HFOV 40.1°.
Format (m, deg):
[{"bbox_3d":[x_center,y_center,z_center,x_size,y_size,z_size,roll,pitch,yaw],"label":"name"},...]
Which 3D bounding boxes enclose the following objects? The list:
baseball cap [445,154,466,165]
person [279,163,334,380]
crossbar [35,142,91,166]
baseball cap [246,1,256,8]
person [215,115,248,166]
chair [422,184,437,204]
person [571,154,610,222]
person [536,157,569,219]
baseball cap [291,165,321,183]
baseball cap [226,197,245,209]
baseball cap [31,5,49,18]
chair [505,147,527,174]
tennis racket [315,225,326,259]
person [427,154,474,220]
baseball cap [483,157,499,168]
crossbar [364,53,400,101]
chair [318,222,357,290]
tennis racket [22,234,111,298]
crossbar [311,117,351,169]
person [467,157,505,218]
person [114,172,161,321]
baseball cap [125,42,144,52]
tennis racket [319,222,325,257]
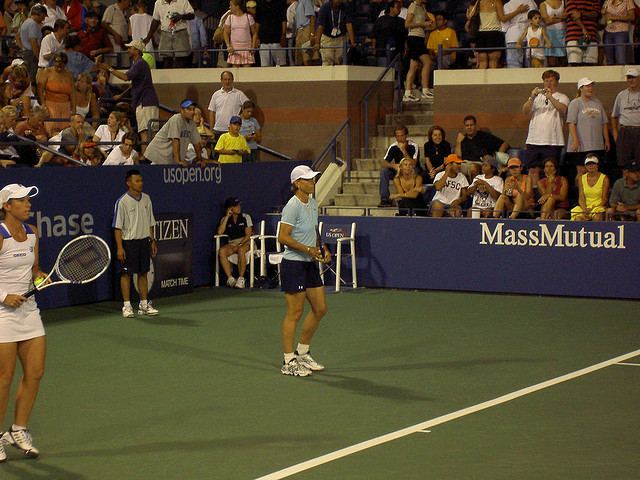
[{"bbox_3d":[2.747,-1.674,17.974,0.318,0.192,0.225,3,10,8],"label":"baseball cap"},{"bbox_3d":[-0.237,0.438,11.641,0.676,2.792,0.656,-2,8,-13],"label":"person"},{"bbox_3d":[-4.825,-1.621,16.335,0.935,0.460,1.020,-3,9,-17],"label":"crossbar"},{"bbox_3d":[-1.898,-6.222,22.992,0.209,0.175,0.353,-2,10,-23],"label":"baseball cap"},{"bbox_3d":[-2.034,-2.257,19.771,0.745,1.039,2.558,-1,9,-6],"label":"person"},{"bbox_3d":[2.279,-0.969,18.722,0.370,0.424,0.294,0,-3,4],"label":"chair"},{"bbox_3d":[5.202,-1.018,16.916,0.685,1.256,0.719,3,8,19],"label":"person"},{"bbox_3d":[4.581,-1.010,17.288,0.613,1.171,0.960,2,8,16],"label":"person"},{"bbox_3d":[-0.235,-0.896,11.626,0.302,0.151,0.221,-6,6,21],"label":"baseball cap"},{"bbox_3d":[-1.857,-0.759,18.349,0.272,0.218,0.315,-2,9,-10],"label":"baseball cap"},{"bbox_3d":[-6.619,-5.370,20.406,0.206,0.298,0.264,13,13,37],"label":"baseball cap"},{"bbox_3d":[4.368,-1.783,19.626,0.532,0.780,0.604,-2,0,14],"label":"chair"},{"bbox_3d":[-0.016,0.023,13.404,0.054,0.541,0.141,-11,4,1],"label":"tennis racket"},{"bbox_3d":[2.649,-1.114,18.024,0.887,1.280,0.677,1,8,7],"label":"person"},{"bbox_3d":[3.549,-1.606,18.220,0.250,0.147,0.201,11,0,-31],"label":"baseball cap"},{"bbox_3d":[1.579,-4.168,22.463,0.136,1.843,0.131,40,-11,-27],"label":"crossbar"},{"bbox_3d":[0.170,0.344,17.883,0.875,1.443,0.899,1,1,30],"label":"chair"},{"bbox_3d":[-2.743,0.308,9.713,0.098,0.437,1.382,-11,22,37],"label":"tennis racket"},{"bbox_3d":[0.227,-2.319,20.735,0.545,1.163,1.919,2,9,17],"label":"crossbar"},{"bbox_3d":[3.352,-1.057,17.847,0.712,1.200,1.104,1,8,11],"label":"person"},{"bbox_3d":[-3.228,0.085,15.292,0.747,2.523,0.654,-2,8,-14],"label":"person"},{"bbox_3d":[-4.313,-4.501,20.107,0.340,0.137,0.243,19,2,-10],"label":"baseball cap"},{"bbox_3d":[0.004,-0.018,14.796,0.049,0.575,0.140,2,-8,-9],"label":"tennis racket"}]
